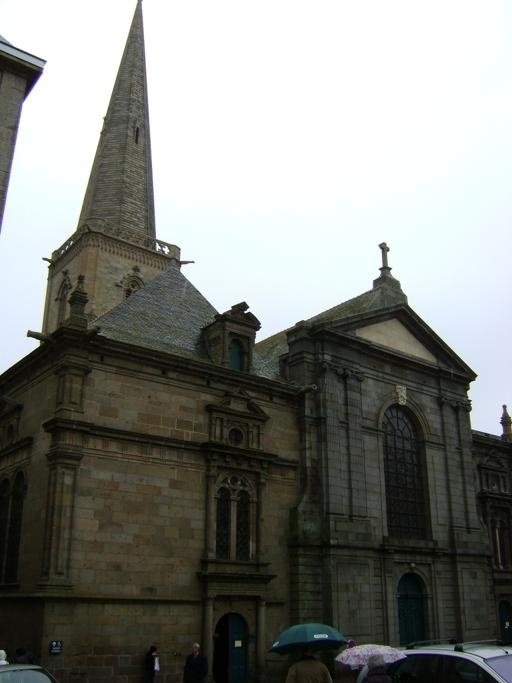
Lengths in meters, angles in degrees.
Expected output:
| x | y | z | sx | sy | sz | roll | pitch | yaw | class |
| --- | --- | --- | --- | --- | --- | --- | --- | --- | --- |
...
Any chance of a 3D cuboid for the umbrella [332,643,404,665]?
| x | y | z | sx | sy | sz | roll | pitch | yaw | class |
| --- | --- | --- | --- | --- | --- | --- | --- | --- | --- |
| 1.619 | 4.434 | 10.239 | 0.718 | 0.190 | 0.475 | -3 | -31 | -4 | umbrella |
